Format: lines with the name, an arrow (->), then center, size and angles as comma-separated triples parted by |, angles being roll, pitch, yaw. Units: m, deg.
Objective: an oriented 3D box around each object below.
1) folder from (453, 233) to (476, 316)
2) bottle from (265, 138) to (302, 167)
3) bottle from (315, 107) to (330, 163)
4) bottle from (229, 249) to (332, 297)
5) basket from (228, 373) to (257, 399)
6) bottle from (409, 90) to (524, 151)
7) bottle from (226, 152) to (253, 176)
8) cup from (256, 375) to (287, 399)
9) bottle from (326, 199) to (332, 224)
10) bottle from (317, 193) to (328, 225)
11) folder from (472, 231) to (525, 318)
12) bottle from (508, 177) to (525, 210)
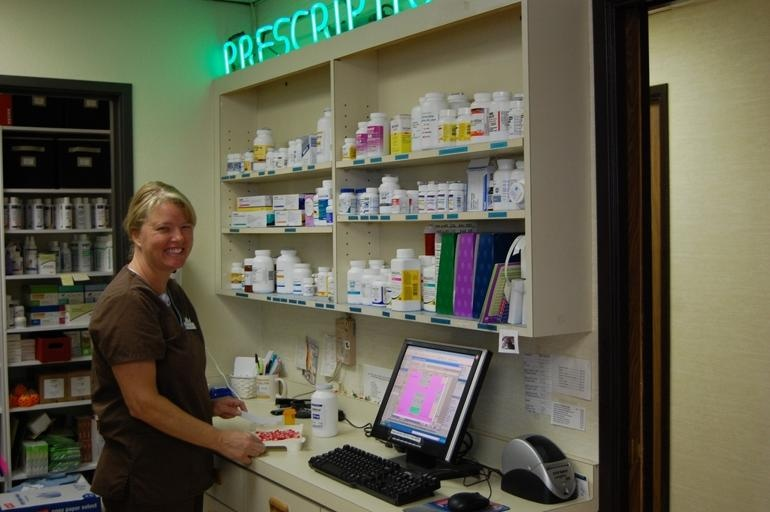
folder -> 0.363, 0.081, 2.735 | 0.070, 0.289, 0.291 | 3, 1, 12
bottle -> -0.615, -0.622, 3.635 | 0.122, 0.219, 0.353 | -2, 6, -32
bottle -> -0.356, -0.674, 3.350 | 0.059, 0.295, 0.231 | -5, 12, -24
bottle -> -0.648, 0.115, 3.678 | 0.388, 0.156, 0.423 | 3, -2, 0
basket -> -0.934, 0.819, 3.855 | 0.146, 0.109, 0.147 | 1, 0, -44
bottle -> 0.378, -0.612, 2.718 | 0.339, 0.137, 0.100 | -2, -8, 45
bottle -> -0.970, -0.613, 3.958 | 0.186, 0.182, 0.099 | 2, 5, 34
cup -> -0.767, 0.838, 3.840 | 0.207, 0.140, 0.131 | -1, -2, 25
bottle -> -0.315, -0.253, 3.327 | 0.024, 0.132, 0.067 | -6, 13, -29
bottle -> -0.361, -0.271, 3.377 | 0.028, 0.165, 0.098 | -8, 14, -37
folder -> 0.499, 0.088, 2.665 | 0.200, 0.377, 0.150 | 1, 11, 6
bottle -> 0.574, -0.272, 2.572 | 0.036, 0.129, 0.091 | -7, 13, -30
